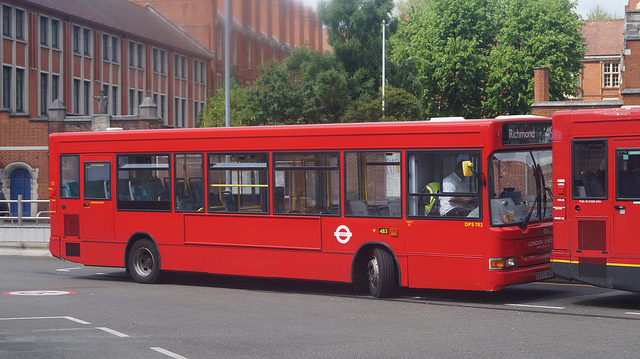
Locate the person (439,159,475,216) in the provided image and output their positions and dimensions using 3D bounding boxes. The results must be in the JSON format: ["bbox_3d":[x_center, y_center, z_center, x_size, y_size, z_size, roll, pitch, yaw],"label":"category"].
[{"bbox_3d":[3.849,0.269,22.123,0.952,1.524,0.324,1,11,9],"label":"person"}]

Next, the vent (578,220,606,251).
[{"bbox_3d":[7.441,1.530,21.514,0.830,0.736,0.193,8,2,21],"label":"vent"}]
